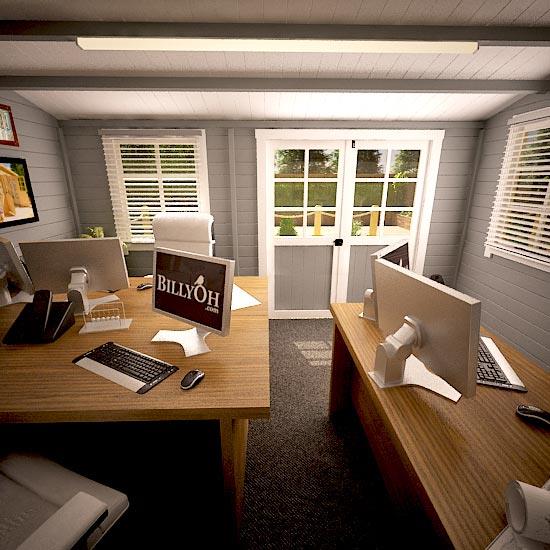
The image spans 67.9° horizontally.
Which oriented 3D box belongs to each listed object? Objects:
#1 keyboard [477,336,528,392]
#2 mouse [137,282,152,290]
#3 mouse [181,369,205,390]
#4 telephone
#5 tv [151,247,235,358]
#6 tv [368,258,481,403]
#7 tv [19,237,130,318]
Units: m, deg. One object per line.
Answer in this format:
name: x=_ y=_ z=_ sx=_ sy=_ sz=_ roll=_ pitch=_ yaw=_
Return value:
keyboard: x=0.999 y=0.388 z=1.837 sx=0.184 sy=0.024 sz=0.245 roll=8 pitch=27 yaw=13
mouse: x=-0.914 y=0.074 z=2.835 sx=0.090 sy=0.029 sz=0.050 roll=-2 pitch=26 yaw=-7
mouse: x=-0.367 y=0.449 z=1.759 sx=0.054 sy=0.029 sz=0.094 roll=9 pitch=25 yaw=18
telephone: x=-1.225 y=0.235 z=2.115 sx=0.295 sy=0.196 sz=0.291 roll=2 pitch=19 yaw=4
tv: x=-0.419 y=0.117 z=2.040 sx=0.544 sy=0.453 sz=0.312 roll=12 pitch=18 yaw=36
tv: x=0.567 y=0.235 z=1.747 sx=0.311 sy=0.440 sz=0.632 roll=-7 pitch=17 yaw=-15
tv: x=-1.145 y=-0.013 z=2.357 sx=0.566 sy=0.358 sz=0.245 roll=-4 pitch=12 yaw=0
